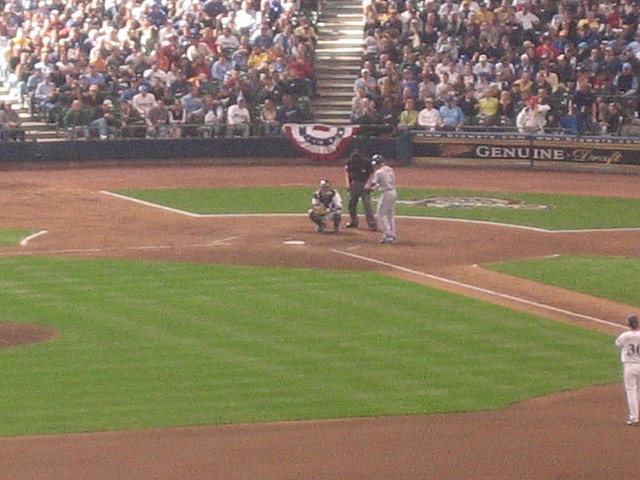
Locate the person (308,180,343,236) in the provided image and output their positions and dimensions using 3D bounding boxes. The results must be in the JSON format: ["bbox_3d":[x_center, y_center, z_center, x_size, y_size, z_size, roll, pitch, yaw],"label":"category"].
[{"bbox_3d":[0.210,-1.191,48.136,1.033,1.724,1.028,-1,9,-1],"label":"person"}]

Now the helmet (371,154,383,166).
[{"bbox_3d":[1.876,-2.615,47.163,0.457,0.307,0.642,1,13,7],"label":"helmet"}]
